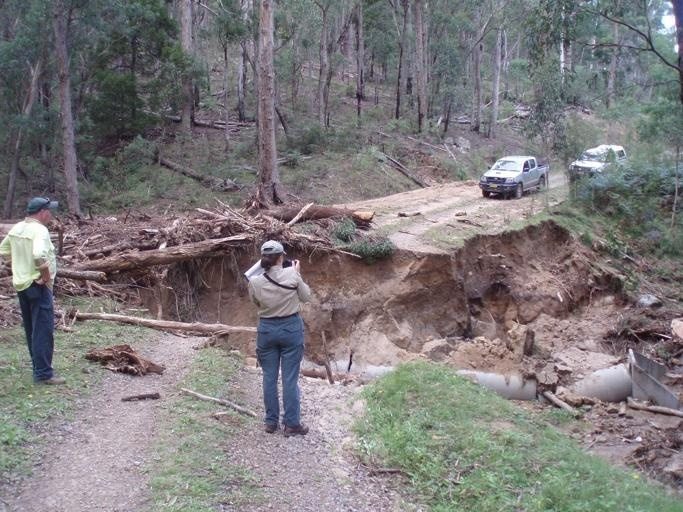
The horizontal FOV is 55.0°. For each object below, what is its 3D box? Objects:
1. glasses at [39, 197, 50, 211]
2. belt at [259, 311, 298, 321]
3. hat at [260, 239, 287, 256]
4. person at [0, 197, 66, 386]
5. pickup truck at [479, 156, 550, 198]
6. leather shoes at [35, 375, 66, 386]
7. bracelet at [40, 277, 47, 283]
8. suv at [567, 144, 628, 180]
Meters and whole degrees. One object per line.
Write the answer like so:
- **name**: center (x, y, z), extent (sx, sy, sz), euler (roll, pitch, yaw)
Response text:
- **glasses**: center (-5.354, -0.965, 11.726), extent (0.160, 0.264, 0.083), euler (11, -13, -28)
- **belt**: center (-1.108, 1.056, 11.459), extent (0.641, 0.181, 0.189), euler (3, 7, -4)
- **hat**: center (-1.209, -0.137, 11.585), extent (0.247, 0.236, 0.367), euler (5, 15, 25)
- **person**: center (-5.477, 0.612, 11.642), extent (0.845, 3.252, 0.843), euler (-2, 8, -32)
- **pickup truck**: center (7.124, -3.384, 27.155), extent (1.539, 1.397, 3.418), euler (9, 18, 35)
- **leather shoes**: center (-5.186, 2.237, 11.657), extent (0.459, 0.229, 0.182), euler (-3, 6, -13)
- **bracelet**: center (-5.197, 0.423, 11.390), extent (0.087, 0.075, 0.092), euler (1, -3, 24)
- **suv**: center (9.980, -3.391, 25.392), extent (2.655, 1.478, 1.338), euler (-15, 22, -40)
